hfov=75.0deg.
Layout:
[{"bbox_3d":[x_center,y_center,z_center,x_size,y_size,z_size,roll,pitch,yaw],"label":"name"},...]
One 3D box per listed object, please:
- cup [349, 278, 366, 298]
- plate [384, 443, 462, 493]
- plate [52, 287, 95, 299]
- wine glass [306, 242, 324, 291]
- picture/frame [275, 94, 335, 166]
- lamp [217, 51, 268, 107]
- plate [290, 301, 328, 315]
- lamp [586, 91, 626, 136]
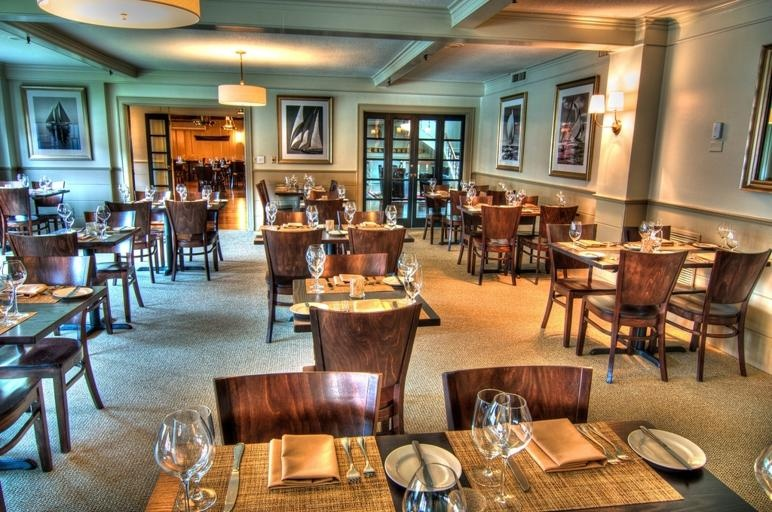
[{"bbox_3d":[-0.195,0.221,3.479,0.097,0.147,0.145,1,2,8],"label":"cup"},{"bbox_3d":[0.148,0.886,2.081,0.316,0.034,0.302,9,17,-33],"label":"plate"},{"bbox_3d":[-2.200,0.257,3.516,0.312,0.045,0.195,1,11,12],"label":"plate"},{"bbox_3d":[-0.508,0.058,3.688,0.133,0.319,0.409,-3,12,-8],"label":"wine glass"},{"bbox_3d":[-1.611,-2.504,9.720,1.426,1.530,0.102,2,17,-9],"label":"picture/frame"},{"bbox_3d":[-2.124,-2.615,7.338,0.695,0.721,0.675,10,21,5],"label":"lamp"},{"bbox_3d":[-0.491,0.328,3.232,0.229,0.067,0.227,-2,11,-3],"label":"plate"},{"bbox_3d":[2.601,-1.676,5.908,0.307,0.444,0.434,-2,8,-28],"label":"lamp"}]
